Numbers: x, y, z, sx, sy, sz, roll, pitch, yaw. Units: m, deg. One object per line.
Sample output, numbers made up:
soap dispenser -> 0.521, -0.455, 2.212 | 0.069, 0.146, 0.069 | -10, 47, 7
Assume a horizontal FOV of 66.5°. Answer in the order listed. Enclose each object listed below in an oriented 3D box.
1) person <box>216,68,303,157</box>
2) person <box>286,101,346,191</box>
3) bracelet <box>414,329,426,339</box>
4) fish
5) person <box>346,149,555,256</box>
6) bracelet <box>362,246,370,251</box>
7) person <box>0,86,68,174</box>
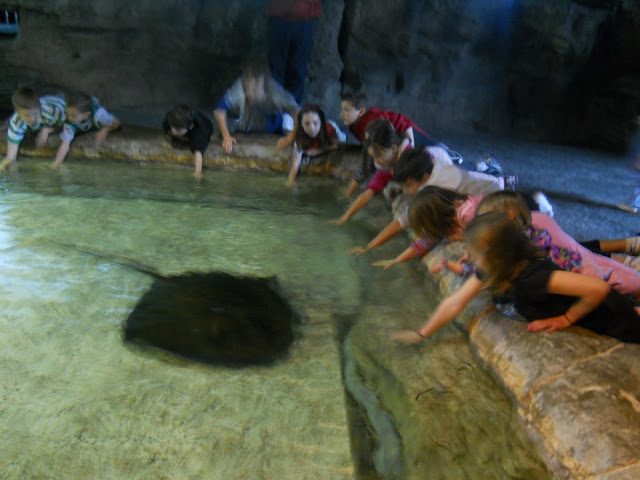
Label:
person -> -0.821, -1.650, 6.071 | 1.112, 1.001, 0.493 | -13, 27, -44
person -> -0.040, -1.280, 5.432 | 0.560, 0.398, 0.897 | 5, 41, 10
bracelet -> 0.581, 0.545, 2.848 | 0.037, 0.033, 0.099 | -10, -15, 10
fish -> -0.679, 0.460, 3.137 | 1.094, 0.157, 0.948 | 7, 21, -3
person -> 1.003, -0.231, 3.526 | 1.627, 0.782, 0.674 | -1, -4, -3
bracelet -> 0.354, 0.060, 3.831 | 0.043, 0.014, 0.044 | -23, 8, 22
person -> -3.371, -1.346, 5.710 | 0.707, 0.872, 0.690 | -4, 23, -29
